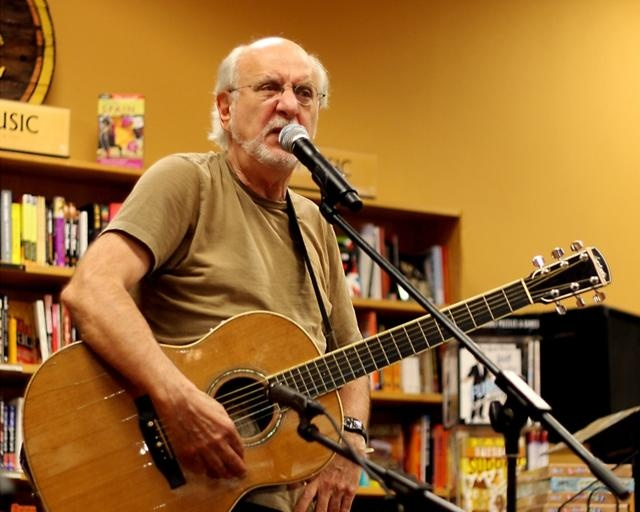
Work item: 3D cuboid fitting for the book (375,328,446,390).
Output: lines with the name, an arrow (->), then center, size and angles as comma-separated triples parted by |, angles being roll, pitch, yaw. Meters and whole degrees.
book -> 0.484, 0.460, 4.249 | 0.306, 0.380, 0.076 | -4, -1, -19

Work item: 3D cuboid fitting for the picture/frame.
picture/frame -> 0.801, 0.650, 4.147 | 0.391, 0.455, 0.255 | -2, -34, 16

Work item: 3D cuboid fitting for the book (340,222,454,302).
book -> 0.474, 0.071, 4.202 | 0.579, 0.391, 0.429 | 7, -6, -24

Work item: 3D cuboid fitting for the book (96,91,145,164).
book -> -0.910, -0.565, 4.087 | 0.210, 0.045, 0.429 | -7, -48, -21

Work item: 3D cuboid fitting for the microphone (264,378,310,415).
microphone -> -0.055, 0.355, 2.192 | 0.050, 0.050, 0.185 | -29, -42, 36
